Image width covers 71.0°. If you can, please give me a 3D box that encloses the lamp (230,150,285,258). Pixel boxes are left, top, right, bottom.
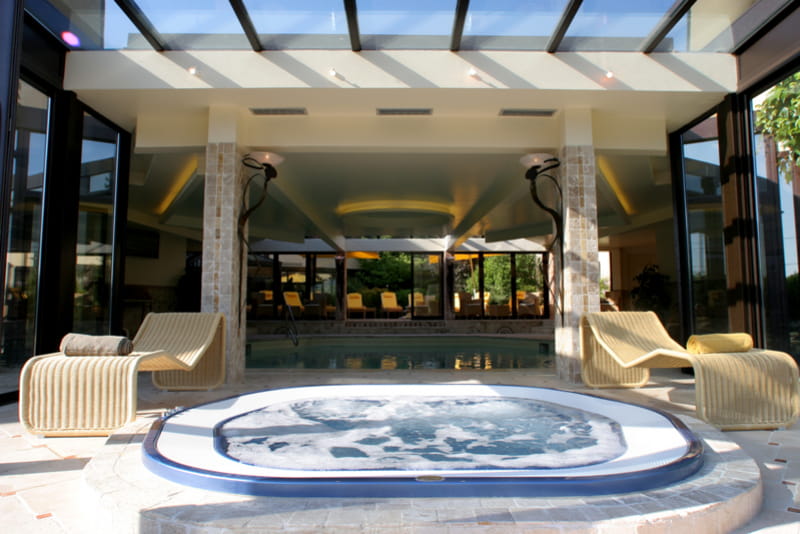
[{"bbox_3d":[-2.515,-0.994,10.097,0.581,1.748,4.026,1,-3,-13],"label":"lamp"}]

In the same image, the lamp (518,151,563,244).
[{"bbox_3d":[2.248,-1.031,8.899,0.580,1.422,0.755,-1,-4,12],"label":"lamp"}]

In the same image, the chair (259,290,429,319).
[{"bbox_3d":[-2.224,1.394,20.779,5.049,0.998,1.771,1,-3,-21],"label":"chair"}]

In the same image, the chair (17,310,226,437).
[{"bbox_3d":[-3.067,1.214,6.680,1.181,0.859,2.084,-2,-4,9],"label":"chair"}]

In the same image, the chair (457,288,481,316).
[{"bbox_3d":[2.490,1.349,20.218,0.834,0.952,0.930,0,-8,-5],"label":"chair"}]

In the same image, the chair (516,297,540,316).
[{"bbox_3d":[4.669,1.447,20.239,0.854,0.690,0.385,-1,-4,9],"label":"chair"}]
